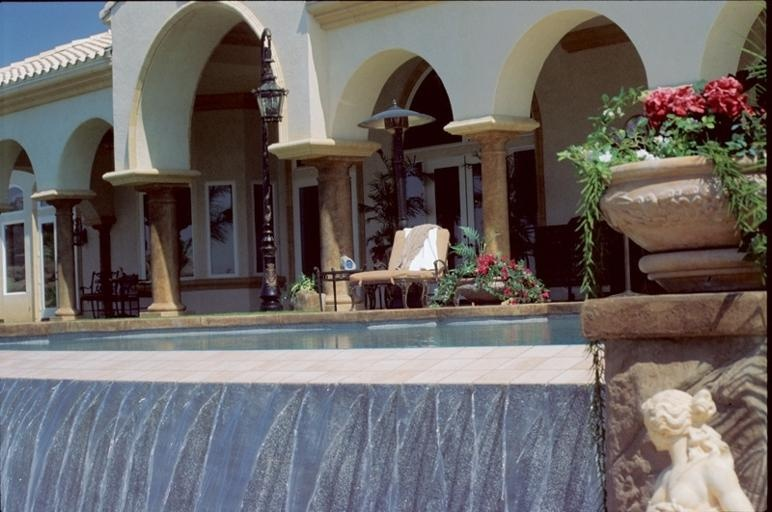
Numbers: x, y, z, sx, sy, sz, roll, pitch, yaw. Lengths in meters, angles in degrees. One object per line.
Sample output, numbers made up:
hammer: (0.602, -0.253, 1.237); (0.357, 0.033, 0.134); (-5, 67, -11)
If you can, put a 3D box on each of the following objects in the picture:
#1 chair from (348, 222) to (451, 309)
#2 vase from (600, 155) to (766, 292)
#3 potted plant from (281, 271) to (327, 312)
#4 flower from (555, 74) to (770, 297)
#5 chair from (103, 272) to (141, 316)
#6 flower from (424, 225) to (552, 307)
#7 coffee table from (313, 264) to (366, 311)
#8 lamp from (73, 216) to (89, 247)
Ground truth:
chair: (0.239, 0.123, 14.016); (1.336, 1.249, 1.420); (0, -2, -7)
vase: (1.839, -0.185, 6.114); (0.802, 0.555, 0.810); (-6, -8, 43)
potted plant: (-1.168, 0.514, 16.123); (0.647, 0.539, 0.527); (-12, 15, -42)
flower: (1.770, -0.339, 6.488); (1.173, 0.826, 1.358); (0, -9, -7)
chair: (-5.816, 0.804, 21.897); (0.761, 1.459, 0.868); (1, 4, -14)
flower: (1.450, 0.214, 13.225); (1.284, 1.049, 1.108); (3, 6, 25)
coffee table: (-0.854, 0.408, 15.036); (0.476, 0.477, 0.481); (-7, -4, -33)
lamp: (-7.285, -0.613, 23.720); (0.243, 0.728, 0.530); (-6, 2, -44)
